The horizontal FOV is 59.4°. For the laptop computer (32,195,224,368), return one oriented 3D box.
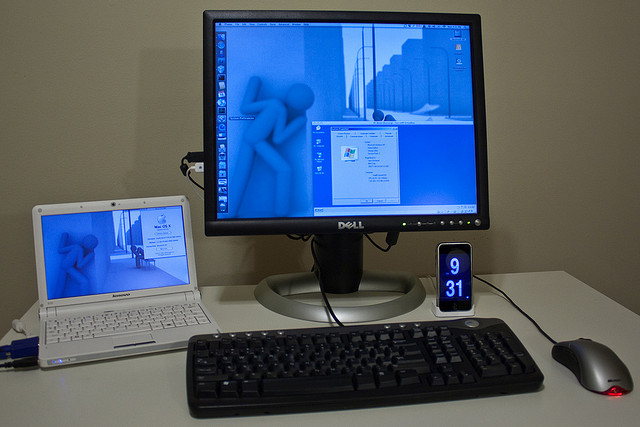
[{"bbox_3d":[-0.509,0.148,1.432,0.442,0.321,0.397,-5,15,-20],"label":"laptop computer"}]

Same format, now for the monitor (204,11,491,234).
[{"bbox_3d":[0.038,-0.221,1.385,0.533,0.411,0.071,0,0,-3],"label":"monitor"}]

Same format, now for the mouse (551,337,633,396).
[{"bbox_3d":[0.583,0.313,1.191,0.078,0.048,0.134,3,17,-17],"label":"mouse"}]
